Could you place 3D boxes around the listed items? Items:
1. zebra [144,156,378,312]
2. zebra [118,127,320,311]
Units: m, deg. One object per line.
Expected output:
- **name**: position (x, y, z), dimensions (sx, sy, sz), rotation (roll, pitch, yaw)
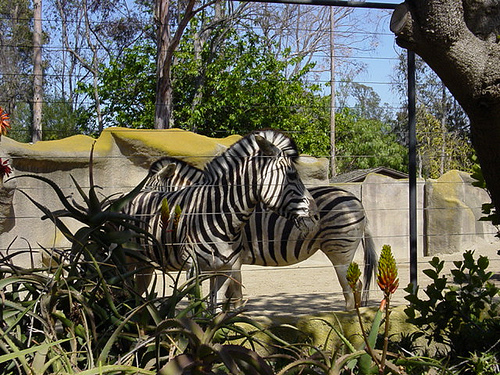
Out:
- **zebra**: position (0.020, 0.480, 7.715), dimensions (2.448, 1.560, 0.684), rotation (-1, 10, 1)
- **zebra**: position (-0.413, 0.437, 7.057), dimensions (2.431, 1.725, 0.695), rotation (-5, -7, 39)
